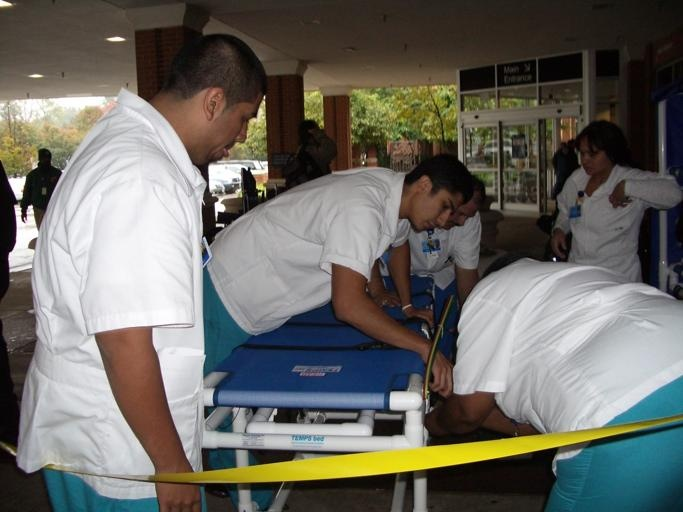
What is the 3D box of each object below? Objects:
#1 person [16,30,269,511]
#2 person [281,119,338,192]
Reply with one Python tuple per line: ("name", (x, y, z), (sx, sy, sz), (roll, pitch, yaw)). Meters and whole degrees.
("person", (-0.581, 0.064, 1.535), (0.591, 1.387, 0.569), (2, 10, 21))
("person", (-0.436, -1.195, 7.047), (0.373, 1.057, 0.475), (8, -13, -29))
